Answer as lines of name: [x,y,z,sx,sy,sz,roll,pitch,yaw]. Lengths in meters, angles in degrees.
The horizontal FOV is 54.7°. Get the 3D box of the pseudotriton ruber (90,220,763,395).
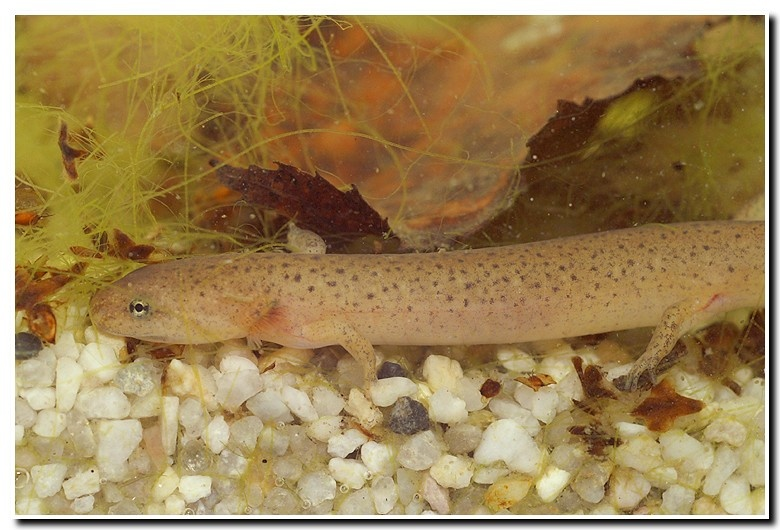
pseudotriton ruber: [0.303,0.172,3.997,3.450,0.543,0.622,-1,48,-4]
